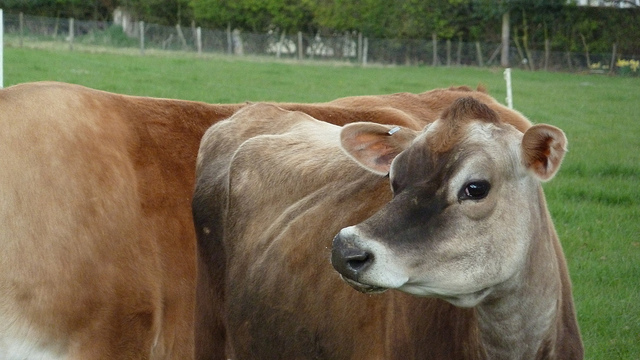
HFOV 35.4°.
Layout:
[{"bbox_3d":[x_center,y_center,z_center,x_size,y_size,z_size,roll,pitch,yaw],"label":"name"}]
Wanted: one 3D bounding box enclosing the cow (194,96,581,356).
[{"bbox_3d":[0.712,0.710,13.158,4.871,3.752,2.007,8,13,29],"label":"cow"}]
